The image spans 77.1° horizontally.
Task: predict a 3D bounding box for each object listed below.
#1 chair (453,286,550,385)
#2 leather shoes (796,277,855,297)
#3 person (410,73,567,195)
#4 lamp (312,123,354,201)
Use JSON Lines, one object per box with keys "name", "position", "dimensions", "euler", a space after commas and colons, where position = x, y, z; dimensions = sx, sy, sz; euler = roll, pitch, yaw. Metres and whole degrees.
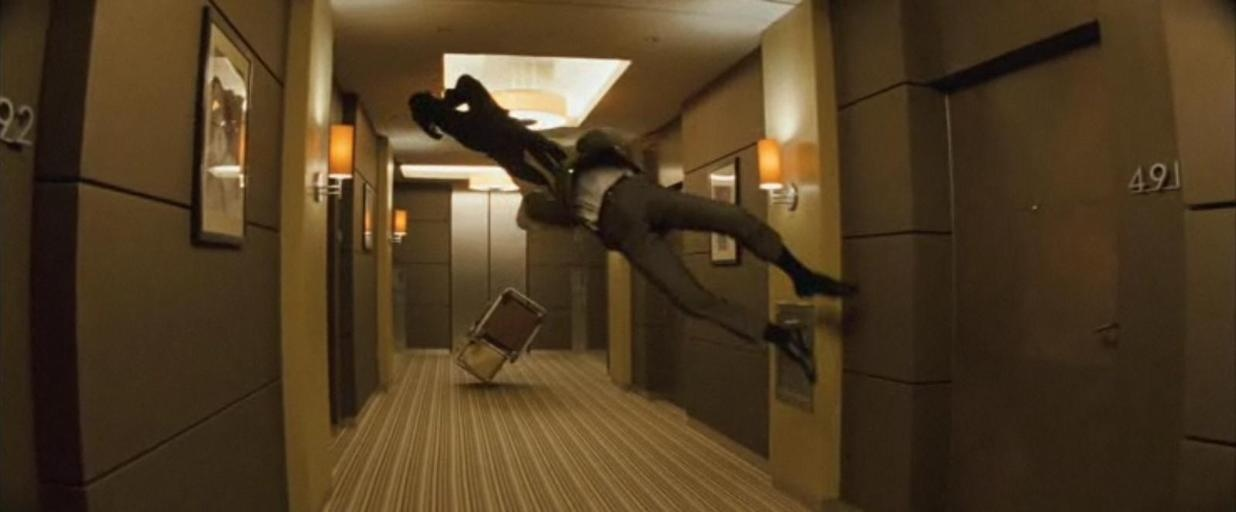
{"name": "chair", "position": [-1.757, 1.117, 11.761], "dimensions": [1.148, 1.571, 0.533], "euler": [41, 5, -3]}
{"name": "leather shoes", "position": [1.997, 0.305, 7.532], "dimensions": [0.617, 0.214, 0.173], "euler": [-4, -3, 5]}
{"name": "person", "position": [-1.183, -1.190, 7.567], "dimensions": [1.360, 1.062, 0.360], "euler": [-1, 14, 1]}
{"name": "lamp", "position": [-3.076, -0.988, 8.468], "dimensions": [0.347, 0.847, 2.284], "euler": [-5, 13, -16]}
